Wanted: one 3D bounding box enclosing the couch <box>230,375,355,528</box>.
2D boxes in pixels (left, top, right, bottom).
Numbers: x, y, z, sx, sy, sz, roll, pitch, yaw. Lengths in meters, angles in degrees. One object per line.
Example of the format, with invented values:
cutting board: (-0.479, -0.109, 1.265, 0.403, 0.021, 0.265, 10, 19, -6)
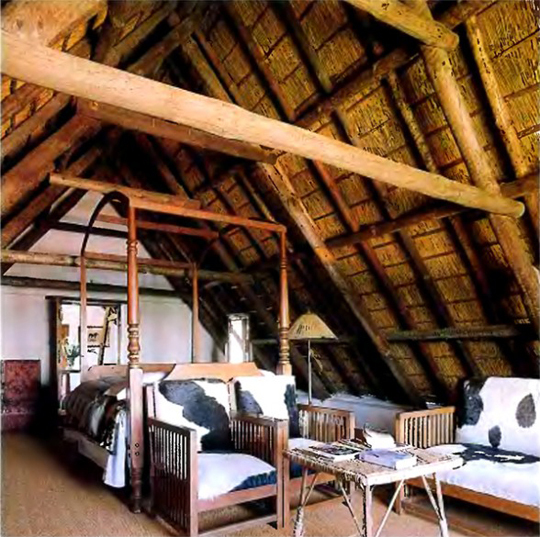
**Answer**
couch: (0.294, 1.211, 3.587, 0.771, 1.187, 0.881, 7, -14, -32)
